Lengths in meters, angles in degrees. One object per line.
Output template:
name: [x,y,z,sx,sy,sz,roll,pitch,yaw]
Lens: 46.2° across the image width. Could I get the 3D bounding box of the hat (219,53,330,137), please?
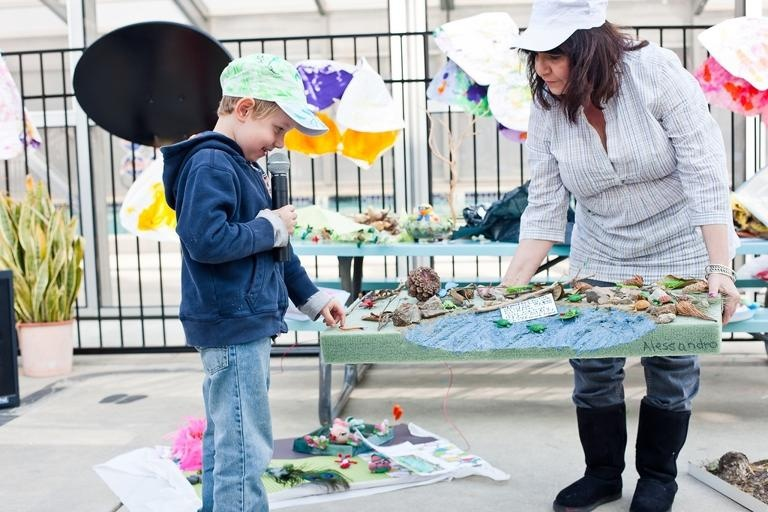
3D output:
hat: [-0.536,-0.781,4.219,0.619,0.325,0.386,8,1,-6]
